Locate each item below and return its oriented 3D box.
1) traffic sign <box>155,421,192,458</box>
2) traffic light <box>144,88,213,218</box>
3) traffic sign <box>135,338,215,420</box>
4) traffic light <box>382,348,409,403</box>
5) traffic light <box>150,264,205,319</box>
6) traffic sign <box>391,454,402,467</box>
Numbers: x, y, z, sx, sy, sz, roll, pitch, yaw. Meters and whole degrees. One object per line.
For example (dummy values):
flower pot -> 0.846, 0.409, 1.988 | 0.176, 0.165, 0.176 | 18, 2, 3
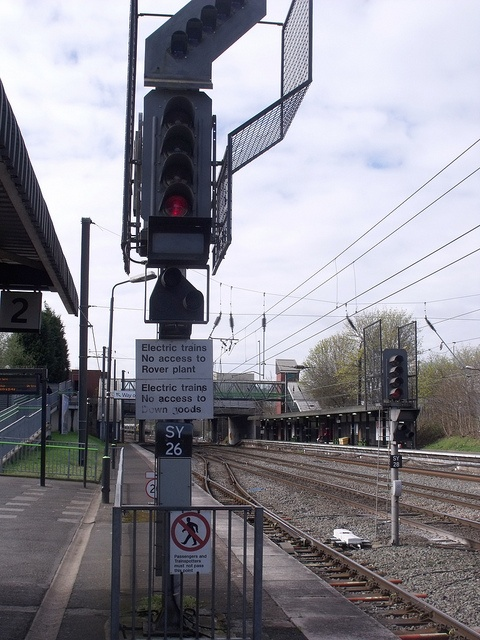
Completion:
traffic sign -> -0.557, 1.019, 6.424 | 0.240, 0.289, 0.028 | 0, -8, -1
traffic light -> -0.569, -1.540, 6.819 | 0.647, 1.529, 0.855 | 1, -8, -4
traffic sign -> -0.566, 0.522, 6.435 | 0.576, 0.742, 0.026 | 1, -16, -4
traffic light -> 2.551, 0.939, 12.591 | 0.392, 0.906, 0.384 | -1, -8, 17
traffic light -> -0.543, -0.212, 6.402 | 0.481, 0.606, 0.293 | 1, -6, -9
traffic sign -> 2.550, 2.308, 12.438 | 0.208, 0.261, 0.079 | 3, -7, -3
